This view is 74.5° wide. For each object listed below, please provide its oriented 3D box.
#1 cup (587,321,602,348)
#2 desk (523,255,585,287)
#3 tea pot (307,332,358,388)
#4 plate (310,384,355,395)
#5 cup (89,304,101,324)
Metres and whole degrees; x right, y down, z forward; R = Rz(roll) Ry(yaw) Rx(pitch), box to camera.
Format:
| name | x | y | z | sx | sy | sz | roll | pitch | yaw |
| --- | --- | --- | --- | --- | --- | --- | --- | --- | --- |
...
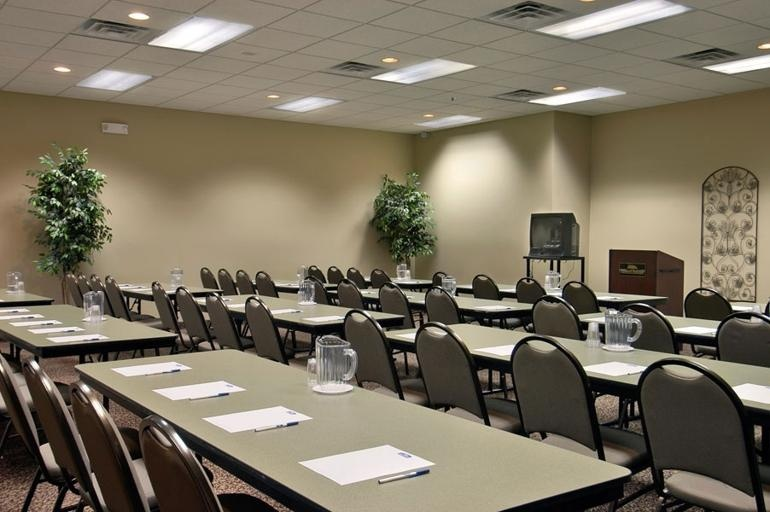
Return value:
| name | x | y | z | sx | sy | sz | roll | pitch | yaw |
| --- | --- | --- | --- | --- | --- | --- | --- | --- | --- |
| cup | 1.330 | 0.509 | 3.231 | 0.139 | 0.145 | 0.136 | -2 | 3 | 0 |
| desk | 3.120 | 0.198 | 9.271 | 0.787 | 0.715 | 0.766 | 2 | -4 | -35 |
| tea pot | -0.255 | 0.505 | 2.400 | 0.222 | 0.245 | 0.152 | -2 | 4 | -9 |
| plate | -0.243 | 0.617 | 2.352 | 0.194 | 0.037 | 0.098 | -2 | 3 | -6 |
| cup | -2.347 | 0.472 | 4.101 | 0.116 | 0.189 | 0.112 | 1 | 4 | 0 |
